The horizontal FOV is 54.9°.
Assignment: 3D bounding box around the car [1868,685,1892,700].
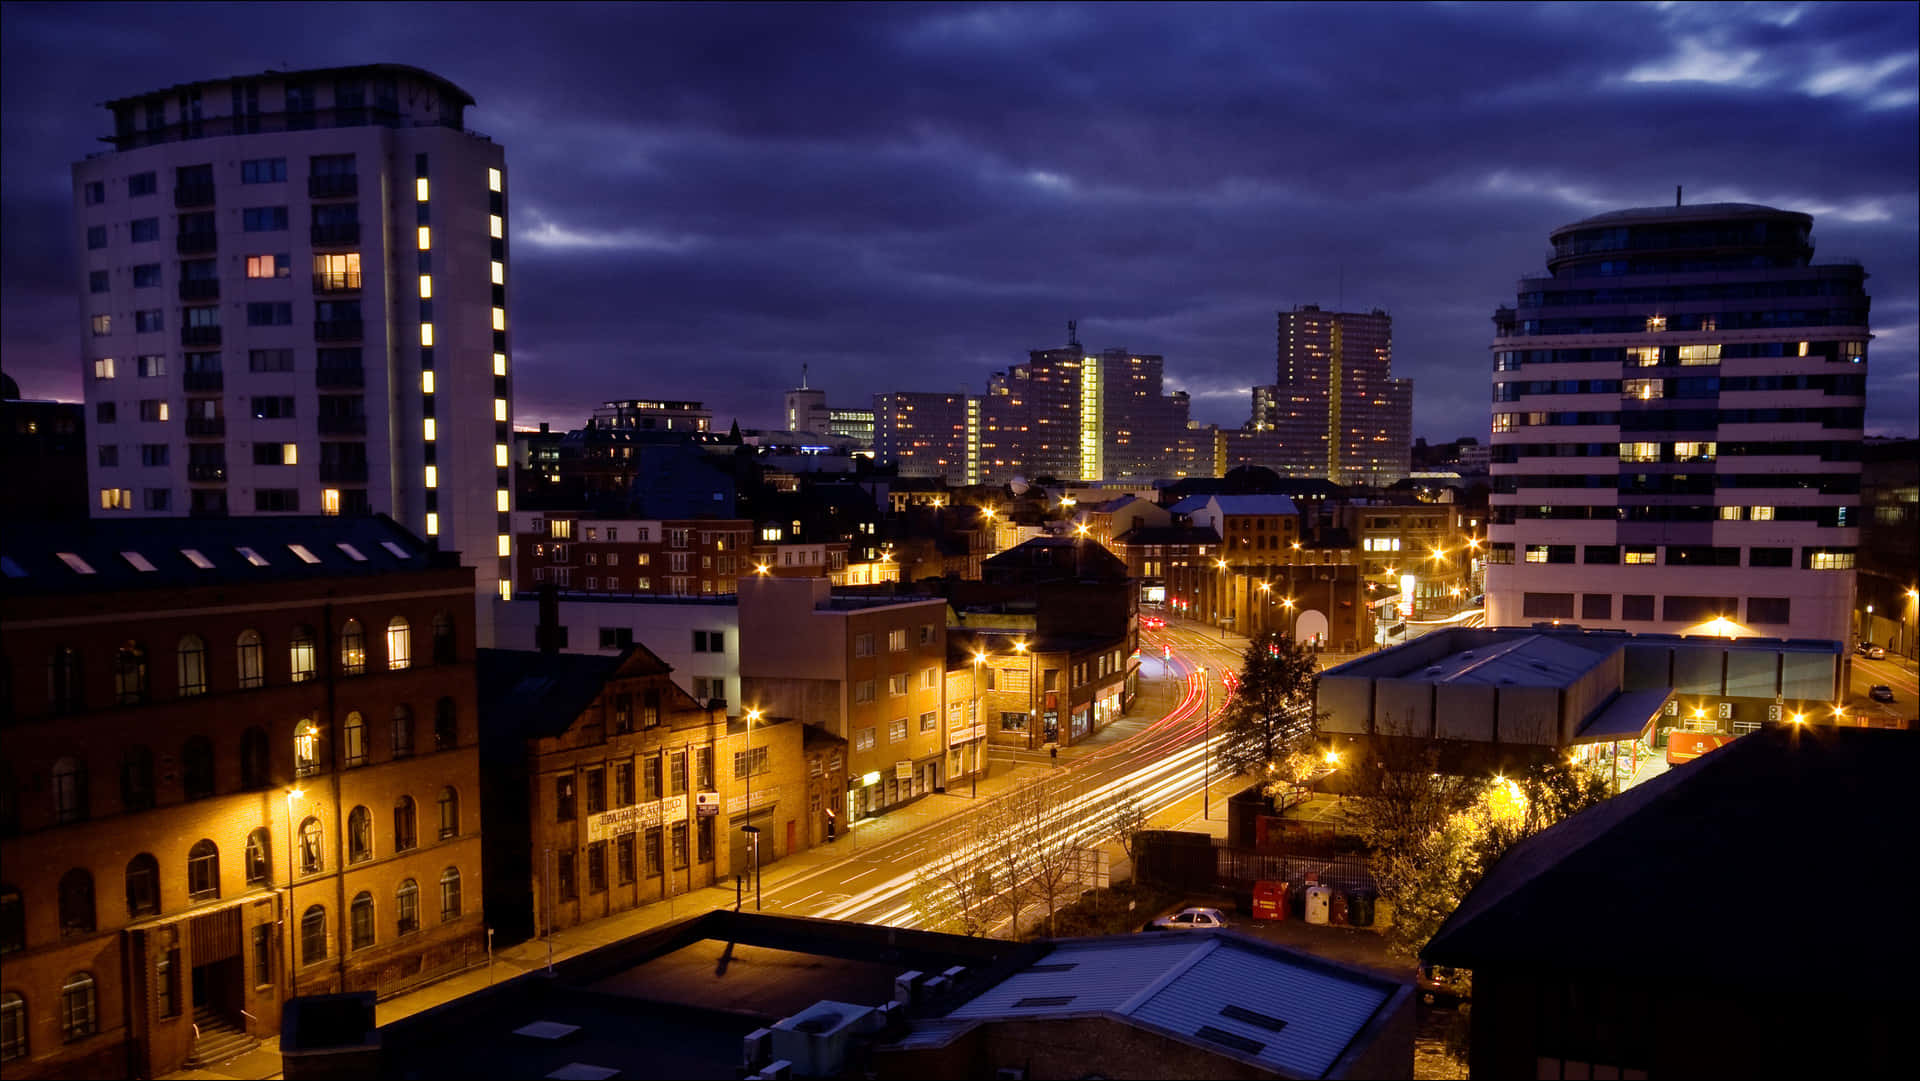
[{"bbox_3d":[93.071,15.634,186.705,2.123,2.080,1.807,2,-1,29],"label":"car"}]
